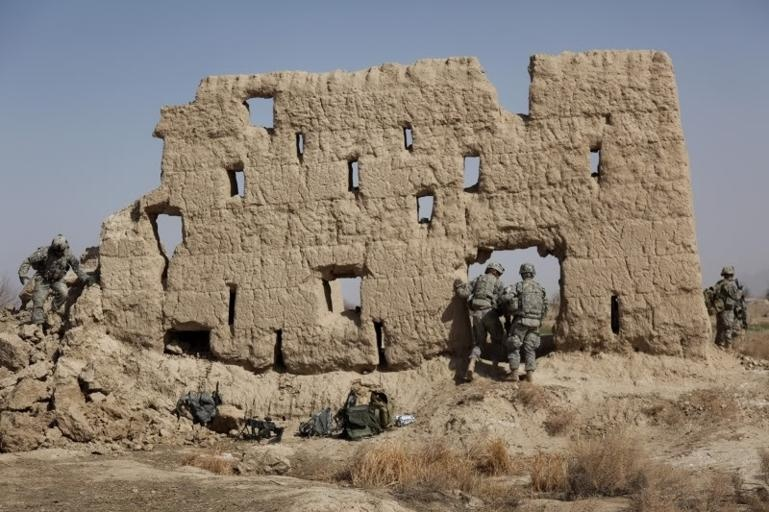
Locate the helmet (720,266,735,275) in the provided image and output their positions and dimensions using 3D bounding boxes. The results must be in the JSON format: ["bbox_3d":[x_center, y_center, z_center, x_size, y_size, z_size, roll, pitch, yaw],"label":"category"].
[{"bbox_3d":[5.389,0.250,19.797,0.242,0.116,0.344,-2,4,0],"label":"helmet"}]

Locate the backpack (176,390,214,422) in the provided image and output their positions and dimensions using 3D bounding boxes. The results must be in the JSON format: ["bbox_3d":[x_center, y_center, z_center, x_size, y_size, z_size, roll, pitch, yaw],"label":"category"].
[{"bbox_3d":[-3.790,3.056,25.415,0.808,0.643,0.145,-3,-16,4],"label":"backpack"}]

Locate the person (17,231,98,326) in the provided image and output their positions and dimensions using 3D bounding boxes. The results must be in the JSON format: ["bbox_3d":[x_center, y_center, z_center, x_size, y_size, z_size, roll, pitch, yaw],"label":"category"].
[{"bbox_3d":[-6.876,0.527,26.362,1.315,1.679,1.169,-1,-16,-5],"label":"person"}]

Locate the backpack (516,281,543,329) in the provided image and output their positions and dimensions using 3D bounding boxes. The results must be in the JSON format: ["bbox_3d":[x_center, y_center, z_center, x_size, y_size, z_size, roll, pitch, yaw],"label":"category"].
[{"bbox_3d":[2.896,0.804,24.686,0.589,0.806,0.453,1,14,2],"label":"backpack"}]

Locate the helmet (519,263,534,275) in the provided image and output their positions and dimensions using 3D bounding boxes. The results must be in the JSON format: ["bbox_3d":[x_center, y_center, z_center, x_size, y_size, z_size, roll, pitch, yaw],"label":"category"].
[{"bbox_3d":[2.470,0.244,21.795,0.209,0.187,0.231,0,-12,-1],"label":"helmet"}]

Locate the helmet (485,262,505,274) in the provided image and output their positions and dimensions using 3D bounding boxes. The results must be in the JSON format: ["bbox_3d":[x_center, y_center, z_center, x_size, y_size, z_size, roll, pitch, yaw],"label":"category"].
[{"bbox_3d":[1.797,0.233,20.703,0.200,0.206,0.266,6,10,36],"label":"helmet"}]

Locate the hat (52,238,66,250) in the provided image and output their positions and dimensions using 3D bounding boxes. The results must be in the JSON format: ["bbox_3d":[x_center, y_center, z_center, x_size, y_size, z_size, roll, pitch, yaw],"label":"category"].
[{"bbox_3d":[-6.693,-0.291,26.073,0.286,0.289,0.385,1,-17,-11],"label":"hat"}]
